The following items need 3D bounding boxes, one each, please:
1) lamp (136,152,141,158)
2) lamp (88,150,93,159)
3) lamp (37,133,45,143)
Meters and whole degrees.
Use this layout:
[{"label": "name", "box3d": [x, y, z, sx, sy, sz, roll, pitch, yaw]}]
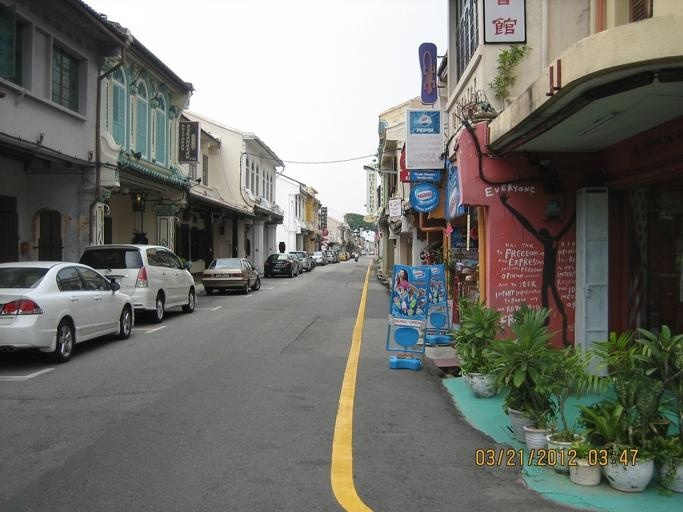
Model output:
[{"label": "lamp", "box3d": [-6.891, -3.470, 20.401, 0.197, 0.292, 0.202, -2, 4, -16]}, {"label": "lamp", "box3d": [-7.669, -3.132, 18.402, 0.158, 0.357, 0.178, -2, 10, -28]}, {"label": "lamp", "box3d": [-8.016, -3.173, 16.042, 0.161, 0.342, 0.538, 0, 3, -24]}]
